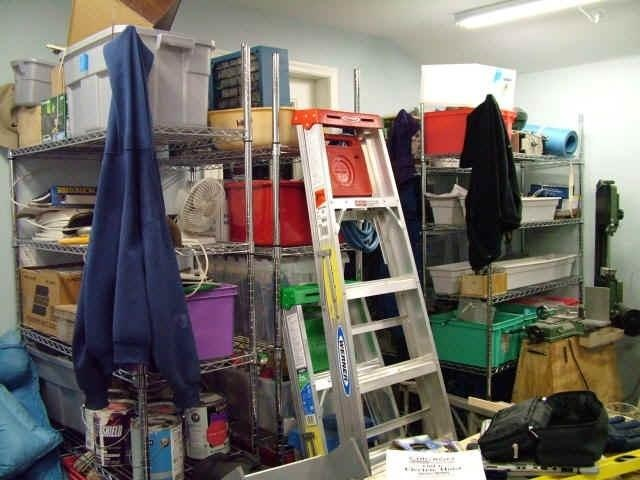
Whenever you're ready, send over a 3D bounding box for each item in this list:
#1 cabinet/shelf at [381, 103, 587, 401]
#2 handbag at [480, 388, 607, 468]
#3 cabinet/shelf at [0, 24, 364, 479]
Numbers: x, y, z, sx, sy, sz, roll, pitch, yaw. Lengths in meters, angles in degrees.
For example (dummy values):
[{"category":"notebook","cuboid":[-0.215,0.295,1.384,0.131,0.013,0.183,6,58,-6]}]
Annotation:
[{"category":"cabinet/shelf","cuboid":[1.165,0.113,4.374,0.769,2.331,2.370,2,4,42]},{"category":"handbag","cuboid":[1.031,0.838,2.753,0.442,0.162,0.347,-6,3,21]},{"category":"cabinet/shelf","cuboid":[-0.938,0.167,3.381,2.396,2.375,1.140,-1,1,36]}]
